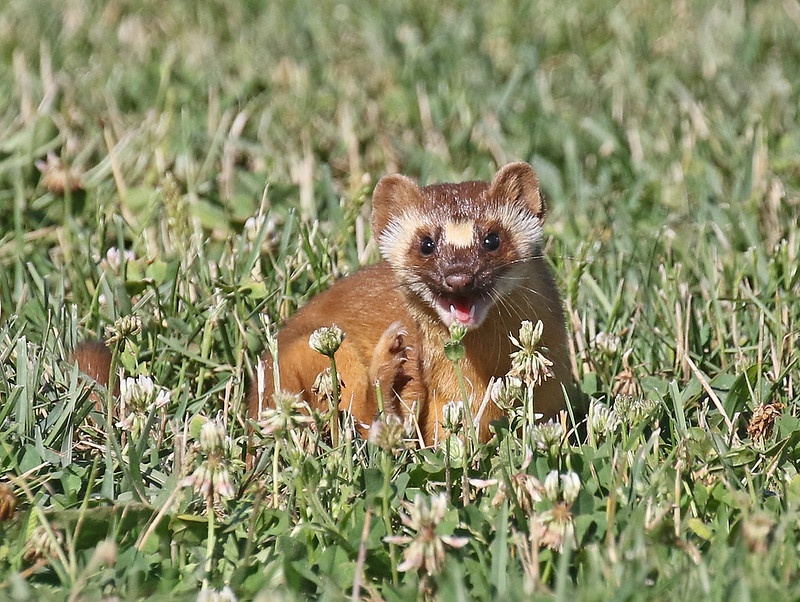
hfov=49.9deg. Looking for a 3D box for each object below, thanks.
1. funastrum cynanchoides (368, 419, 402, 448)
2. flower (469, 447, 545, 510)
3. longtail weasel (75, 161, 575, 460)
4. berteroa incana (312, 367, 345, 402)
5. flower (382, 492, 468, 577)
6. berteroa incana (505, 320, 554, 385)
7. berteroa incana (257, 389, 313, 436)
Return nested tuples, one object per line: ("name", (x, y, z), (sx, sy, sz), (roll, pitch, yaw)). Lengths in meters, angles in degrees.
("funastrum cynanchoides", (-0.034, 0.394, 2.575), (0.101, 0.098, 0.136), (5, -8, 3))
("flower", (0.346, 0.525, 2.662), (0.179, 0.128, 0.208), (1, -7, -37))
("longtail weasel", (0.000, -0.003, 4.401), (1.358, 1.876, 1.827), (6, 17, 28))
("berteroa incana", (-0.290, 0.364, 3.474), (0.151, 0.123, 0.192), (2, -15, -12))
("flower", (0.071, 0.692, 2.580), (0.229, 0.217, 0.779), (-35, -9, -3))
("berteroa incana", (0.526, 0.206, 3.428), (0.146, 0.229, 0.164), (-17, 25, -20))
("berteroa incana", (-0.409, 0.398, 3.037), (0.157, 0.118, 0.178), (-8, 34, 0))
